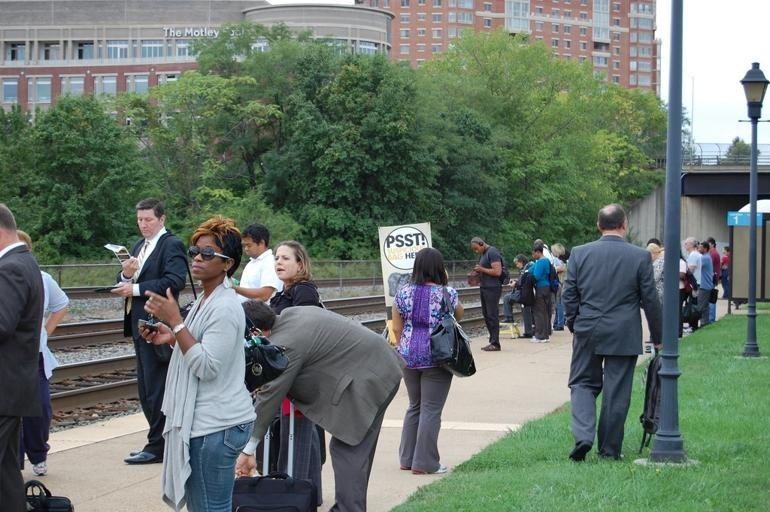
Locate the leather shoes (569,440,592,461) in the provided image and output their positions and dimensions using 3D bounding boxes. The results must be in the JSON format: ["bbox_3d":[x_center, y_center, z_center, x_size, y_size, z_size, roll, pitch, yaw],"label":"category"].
[{"bbox_3d":[2.858,2.931,15.405,0.194,0.162,0.378,9,-37,3],"label":"leather shoes"}]

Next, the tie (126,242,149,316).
[{"bbox_3d":[-3.694,0.394,15.573,0.112,1.144,0.121,19,-2,-12],"label":"tie"}]

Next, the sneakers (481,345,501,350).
[{"bbox_3d":[2.416,2.143,23.921,0.419,0.188,0.160,3,-3,-2],"label":"sneakers"}]

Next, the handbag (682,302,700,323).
[{"bbox_3d":[7.047,1.325,24.210,0.235,0.512,0.468,5,4,40],"label":"handbag"}]

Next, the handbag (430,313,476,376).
[{"bbox_3d":[1.011,1.410,15.978,0.573,1.070,1.058,-9,-23,21],"label":"handbag"}]

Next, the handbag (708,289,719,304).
[{"bbox_3d":[8.704,1.096,27.807,0.253,0.497,0.439,4,5,8],"label":"handbag"}]

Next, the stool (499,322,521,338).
[{"bbox_3d":[3.239,1.976,27.206,0.460,0.275,0.548,-2,-3,29],"label":"stool"}]

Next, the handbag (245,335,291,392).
[{"bbox_3d":[-1.503,1.397,13.188,0.554,0.429,0.287,-37,19,-6],"label":"handbag"}]

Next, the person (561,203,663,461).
[{"bbox_3d":[3.318,1.146,15.542,1.348,3.801,0.685,-1,2,8],"label":"person"}]

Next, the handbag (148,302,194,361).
[{"bbox_3d":[-3.199,1.064,15.311,0.391,1.126,0.862,10,14,-11],"label":"handbag"}]
